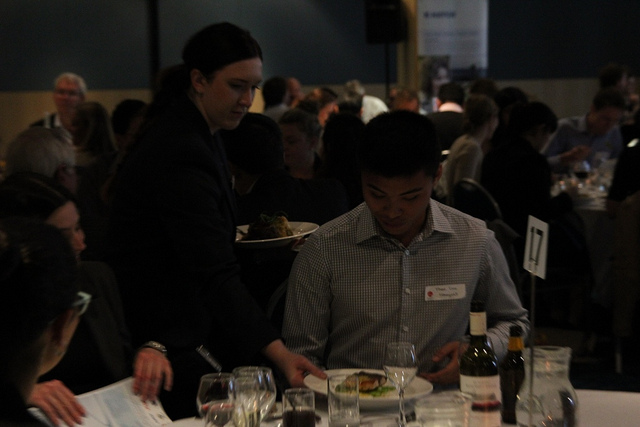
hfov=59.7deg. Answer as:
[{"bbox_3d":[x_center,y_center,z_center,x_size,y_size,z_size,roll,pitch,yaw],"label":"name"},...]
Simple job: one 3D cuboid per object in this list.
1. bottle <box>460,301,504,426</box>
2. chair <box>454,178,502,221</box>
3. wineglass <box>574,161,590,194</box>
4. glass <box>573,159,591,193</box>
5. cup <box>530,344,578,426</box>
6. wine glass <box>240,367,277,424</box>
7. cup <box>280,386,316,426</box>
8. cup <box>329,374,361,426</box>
[{"bbox_3d":[0.488,0.444,1.677,0.126,0.371,0.172,-2,10,4],"label":"bottle"},{"bbox_3d":[1.171,-0.102,4.089,0.160,0.302,0.196,26,52,35],"label":"chair"},{"bbox_3d":[2.119,-0.292,4.522,0.118,0.244,0.252,2,11,25],"label":"wineglass"},{"bbox_3d":[2.164,-0.307,4.603,0.122,0.315,0.140,0,5,23],"label":"glass"},{"bbox_3d":[0.731,0.521,1.739,0.129,0.255,0.242,2,11,26],"label":"cup"},{"bbox_3d":[-0.203,0.587,1.840,0.116,0.147,0.160,-4,10,-8],"label":"wine glass"},{"bbox_3d":[-0.069,0.605,1.740,0.104,0.179,0.104,-2,3,0],"label":"cup"},{"bbox_3d":[0.074,0.586,1.768,0.097,0.138,0.128,-3,10,0],"label":"cup"}]
